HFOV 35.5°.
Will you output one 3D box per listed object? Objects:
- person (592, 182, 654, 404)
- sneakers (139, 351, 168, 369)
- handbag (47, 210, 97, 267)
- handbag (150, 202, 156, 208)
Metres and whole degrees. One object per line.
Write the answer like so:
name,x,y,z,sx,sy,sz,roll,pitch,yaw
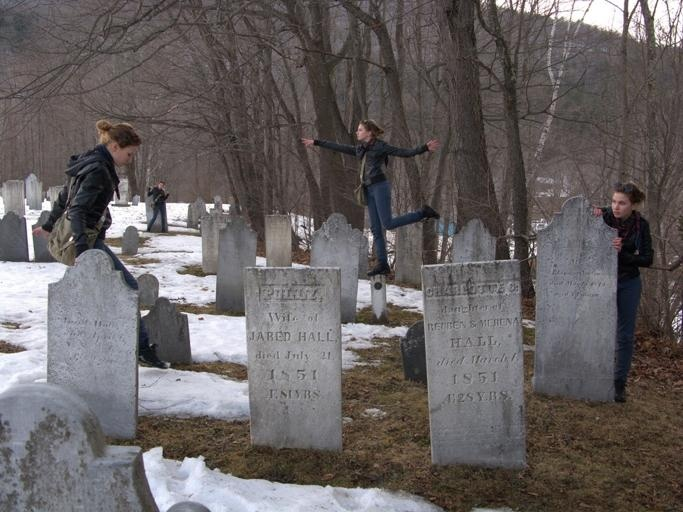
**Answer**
person,4.621,0.593,17.381,0.771,3.366,0.243,1,0,15
sneakers,-3.149,1.721,17.726,0.106,0.273,0.458,4,-19,44
handbag,-4.317,-0.317,17.342,0.621,1.213,0.812,12,-16,-30
handbag,-5.411,-1.501,30.644,0.205,0.218,0.050,-6,-1,-13
